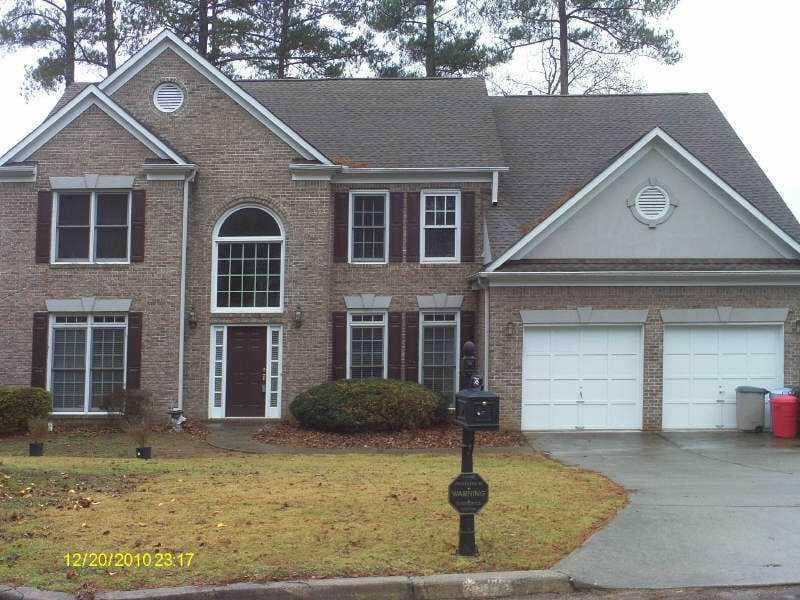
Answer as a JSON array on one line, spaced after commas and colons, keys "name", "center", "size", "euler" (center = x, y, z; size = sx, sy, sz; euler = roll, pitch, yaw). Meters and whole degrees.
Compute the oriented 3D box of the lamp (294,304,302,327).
[{"name": "lamp", "center": [-2.868, 0.432, 37.849], "size": [0.248, 0.617, 0.261], "euler": [-2, 10, -7]}]
